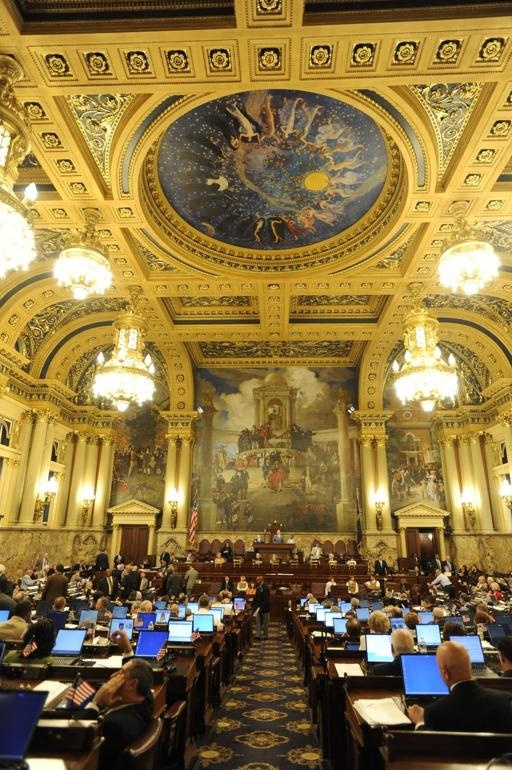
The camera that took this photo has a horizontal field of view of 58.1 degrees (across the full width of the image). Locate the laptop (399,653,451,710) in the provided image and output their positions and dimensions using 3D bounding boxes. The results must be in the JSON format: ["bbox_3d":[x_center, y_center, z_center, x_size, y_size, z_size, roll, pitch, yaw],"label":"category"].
[{"bbox_3d":[1.128,1.984,3.110,0.323,0.286,0.092,3,-20,-8],"label":"laptop"}]

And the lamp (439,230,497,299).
[{"bbox_3d":[4.168,-2.369,9.157,1.053,0.923,0.808,-15,-25,36],"label":"lamp"}]

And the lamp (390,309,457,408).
[{"bbox_3d":[4.092,-0.671,11.362,1.423,2.396,1.058,-8,-21,22],"label":"lamp"}]
